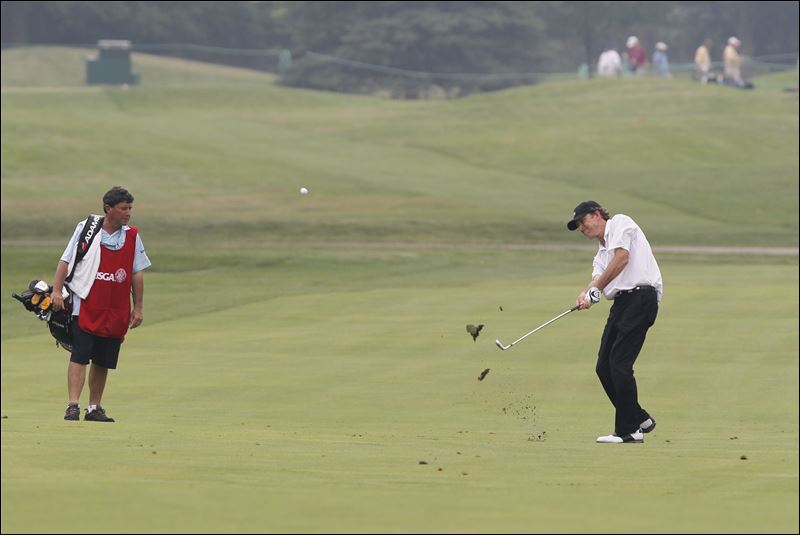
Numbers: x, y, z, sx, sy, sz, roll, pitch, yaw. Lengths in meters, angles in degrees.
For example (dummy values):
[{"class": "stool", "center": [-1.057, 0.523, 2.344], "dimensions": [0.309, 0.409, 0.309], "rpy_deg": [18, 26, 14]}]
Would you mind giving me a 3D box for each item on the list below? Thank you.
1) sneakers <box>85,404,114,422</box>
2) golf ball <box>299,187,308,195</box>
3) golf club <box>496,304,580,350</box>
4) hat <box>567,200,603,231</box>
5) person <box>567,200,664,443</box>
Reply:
[{"class": "sneakers", "center": [-4.258, 2.104, 28.437], "dimensions": [0.500, 0.191, 0.184], "rpy_deg": [2, -2, 21]}, {"class": "golf ball", "center": [-1.629, -1.258, 33.085], "dimensions": [0.138, 0.045, 0.128], "rpy_deg": [0, 19, 0]}, {"class": "golf club", "center": [2.198, 0.989, 31.908], "dimensions": [1.651, 0.213, 0.181], "rpy_deg": [-23, 17, -17]}, {"class": "hat", "center": [2.572, -0.768, 28.166], "dimensions": [0.539, 0.280, 0.365], "rpy_deg": [-32, 1, -8]}, {"class": "person", "center": [3.125, 0.777, 28.028], "dimensions": [1.145, 3.404, 0.630], "rpy_deg": [-5, 9, 9]}]
